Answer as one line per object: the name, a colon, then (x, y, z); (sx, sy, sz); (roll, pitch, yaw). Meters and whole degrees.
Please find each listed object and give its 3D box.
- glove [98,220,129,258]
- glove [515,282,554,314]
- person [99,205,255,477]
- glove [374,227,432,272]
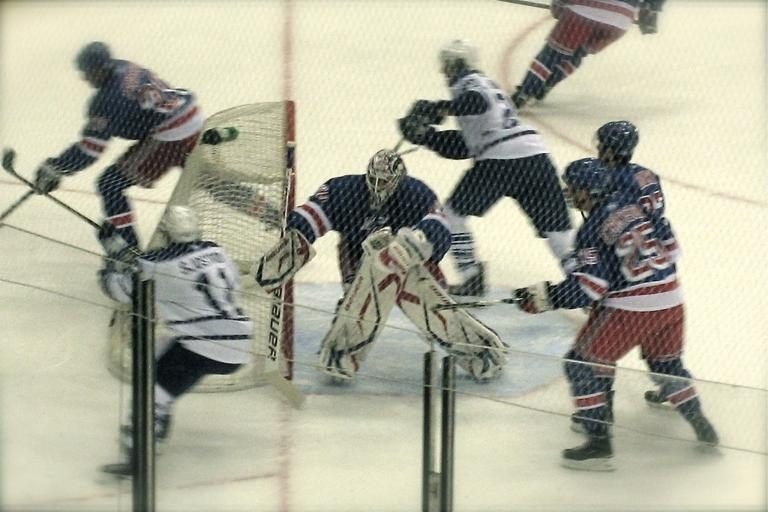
glove: (-1.457, -0.087, 7.390); (0.231, 0.167, 0.066); (-15, -15, -8)
glove: (0.747, 0.220, 6.990); (0.214, 0.064, 0.158); (-2, -37, 0)
person: (-0.948, 0.345, 6.890); (0.560, 1.180, 0.434); (8, -4, -11)
glove: (0.104, -0.032, 6.912); (0.262, 0.201, 0.127); (5, -4, -1)
